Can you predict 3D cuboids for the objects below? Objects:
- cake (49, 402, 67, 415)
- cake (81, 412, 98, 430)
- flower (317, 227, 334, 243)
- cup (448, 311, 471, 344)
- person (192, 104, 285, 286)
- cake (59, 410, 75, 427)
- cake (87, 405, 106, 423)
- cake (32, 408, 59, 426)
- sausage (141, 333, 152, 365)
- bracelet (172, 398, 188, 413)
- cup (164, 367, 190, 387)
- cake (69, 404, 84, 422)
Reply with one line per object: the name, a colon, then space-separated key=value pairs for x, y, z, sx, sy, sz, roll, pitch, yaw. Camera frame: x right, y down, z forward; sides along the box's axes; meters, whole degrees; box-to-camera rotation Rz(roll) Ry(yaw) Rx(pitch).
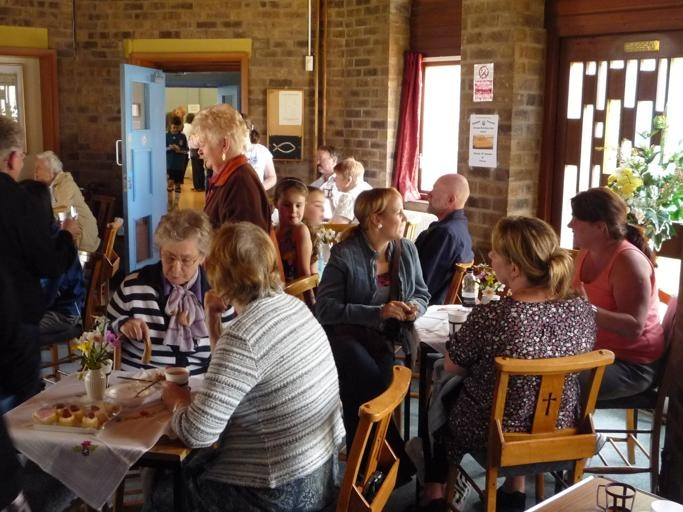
cake: x=-0.998 y=0.545 z=1.986 sx=0.040 sy=0.027 sz=0.042 roll=7 pitch=15 yaw=19
cake: x=-0.861 y=0.571 z=1.930 sx=0.048 sy=0.050 sz=0.050 roll=0 pitch=-5 yaw=33
flower: x=-0.120 y=-0.156 z=4.305 sx=0.116 sy=0.066 sz=0.096 roll=7 pitch=-2 yaw=-32
cup: x=0.592 y=0.360 z=2.879 sx=0.163 sy=0.173 sz=0.136 roll=2 pitch=8 yaw=17
person: x=-0.623 y=-0.260 z=3.461 sx=0.391 sy=1.257 sz=0.463 roll=-5 pitch=16 yaw=-5
cake: x=-0.947 y=0.564 z=1.942 sx=0.043 sy=0.047 sz=0.043 roll=1 pitch=2 yaw=3
cake: x=-0.859 y=0.550 z=1.958 sx=0.039 sy=0.016 sz=0.041 roll=1 pitch=25 yaw=-2
cake: x=-1.028 y=0.558 z=1.950 sx=0.049 sy=0.024 sz=0.062 roll=27 pitch=23 yaw=38
sausage: x=-0.865 y=0.408 z=2.495 sx=0.042 sy=0.148 sz=0.073 roll=-4 pitch=10 yaw=-20
bracelet: x=-0.564 y=0.524 z=1.999 sx=0.058 sy=0.063 sz=0.059 roll=6 pitch=-9 yaw=-42
cup: x=-0.631 y=0.456 z=2.150 sx=0.076 sy=0.064 sz=0.063 roll=-3 pitch=17 yaw=-16
cake: x=-0.925 y=0.549 z=1.959 sx=0.043 sy=0.044 sz=0.044 roll=-3 pitch=4 yaw=-22
